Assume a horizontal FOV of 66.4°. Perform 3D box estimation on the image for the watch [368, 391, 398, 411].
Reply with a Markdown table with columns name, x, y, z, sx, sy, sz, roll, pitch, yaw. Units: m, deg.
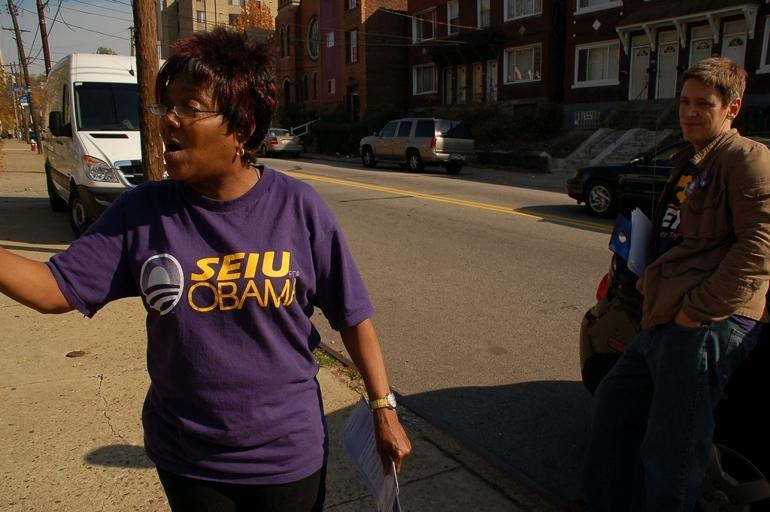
| name | x | y | z | sx | sy | sz | roll | pitch | yaw |
| --- | --- | --- | --- | --- | --- | --- | --- | --- | --- |
| watch | -0.010 | 0.634 | 2.498 | 0.095 | 0.067 | 0.102 | -4 | -3 | 7 |

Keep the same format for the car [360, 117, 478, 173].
| name | x | y | z | sx | sy | sz | roll | pitch | yaw |
| --- | --- | --- | --- | --- | --- | --- | --- | --- | --- |
| car | 1.217 | -4.382 | 22.956 | 2.050 | 1.617 | 4.078 | -11 | 25 | -38 |
